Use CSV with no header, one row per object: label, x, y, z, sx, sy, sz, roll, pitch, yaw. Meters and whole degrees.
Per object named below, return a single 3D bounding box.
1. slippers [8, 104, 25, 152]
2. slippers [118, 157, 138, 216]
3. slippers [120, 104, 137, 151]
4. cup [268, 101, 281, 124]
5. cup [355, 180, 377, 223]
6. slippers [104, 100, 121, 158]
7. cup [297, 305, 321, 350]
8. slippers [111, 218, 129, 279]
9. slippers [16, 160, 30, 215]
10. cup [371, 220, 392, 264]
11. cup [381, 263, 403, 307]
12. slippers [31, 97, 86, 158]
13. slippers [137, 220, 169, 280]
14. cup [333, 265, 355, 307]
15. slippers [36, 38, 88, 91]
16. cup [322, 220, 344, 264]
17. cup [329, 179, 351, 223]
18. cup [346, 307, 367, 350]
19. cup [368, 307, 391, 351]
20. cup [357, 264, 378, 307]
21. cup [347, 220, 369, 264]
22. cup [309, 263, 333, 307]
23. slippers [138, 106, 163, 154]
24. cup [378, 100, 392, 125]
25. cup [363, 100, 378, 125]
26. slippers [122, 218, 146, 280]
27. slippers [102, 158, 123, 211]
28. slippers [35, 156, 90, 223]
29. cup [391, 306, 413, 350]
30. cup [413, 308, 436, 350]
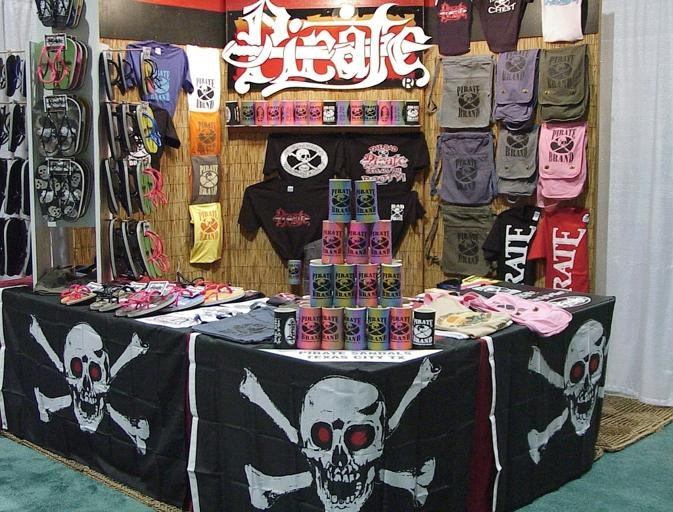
slippers,-2.232,-0.919,4.733,0.121,0.343,0.099,9,2,-41
slippers,-1.351,-0.477,4.442,0.102,0.341,0.172,-4,1,-5
slippers,-1.352,-0.831,4.358,0.077,0.253,0.124,-3,7,-13
cup,-0.559,-1.311,6.048,0.132,0.259,0.143,1,10,0
cup,0.147,-0.278,3.292,0.108,0.201,0.173,0,12,1
slippers,-1.452,-0.823,4.359,0.087,0.357,0.092,-5,13,-21
cup,-0.131,0.337,3.178,0.120,0.190,0.095,1,12,7
slippers,-1.441,-0.045,4.534,0.149,0.426,0.116,2,8,11
slippers,-2.135,-0.465,4.595,0.057,0.408,0.357,-7,14,-30
cup,0.216,-0.077,3.257,0.106,0.201,0.128,0,12,3
cup,0.260,0.135,3.218,0.097,0.201,0.097,0,12,0
slippers,-1.761,-0.834,4.312,0.321,0.385,0.106,2,6,15
slippers,-1.286,-0.020,4.562,0.085,0.419,0.213,-6,11,17
cup,0.041,0.140,3.207,0.101,0.196,0.057,0,12,0
slippers,-1.778,-1.252,4.302,0.349,0.330,0.133,4,12,15
cup,-0.015,-0.080,3.285,0.108,0.190,0.186,0,13,1
cup,0.020,-0.268,3.268,0.104,0.210,0.066,2,12,8
cup,0.090,0.342,3.155,0.107,0.193,0.056,1,12,3
cup,0.191,0.341,3.152,0.102,0.194,0.057,0,12,0
cup,0.146,0.138,3.202,0.100,0.200,0.061,0,12,-2
cup,0.101,-0.069,3.236,0.109,0.199,0.065,1,12,3
cup,-0.067,0.136,3.198,0.110,0.209,0.069,0,12,1
slippers,-1.238,-0.828,4.400,0.084,0.305,0.156,-4,12,10
cup,0.424,-1.267,5.891,0.155,0.301,0.164,-1,9,0
cup,0.299,-1.254,5.886,0.151,0.289,0.160,0,11,0
slippers,-1.310,-0.046,4.445,0.071,0.353,0.175,-5,5,10
slippers,-1.486,-0.461,4.428,0.108,0.367,0.100,-7,13,-29
slippers,-1.794,-0.452,4.404,0.351,0.416,0.092,-2,7,14
cup,0.306,0.338,3.162,0.110,0.197,0.073,0,12,3
cup,0.419,0.334,3.222,0.106,0.173,0.155,2,13,8
